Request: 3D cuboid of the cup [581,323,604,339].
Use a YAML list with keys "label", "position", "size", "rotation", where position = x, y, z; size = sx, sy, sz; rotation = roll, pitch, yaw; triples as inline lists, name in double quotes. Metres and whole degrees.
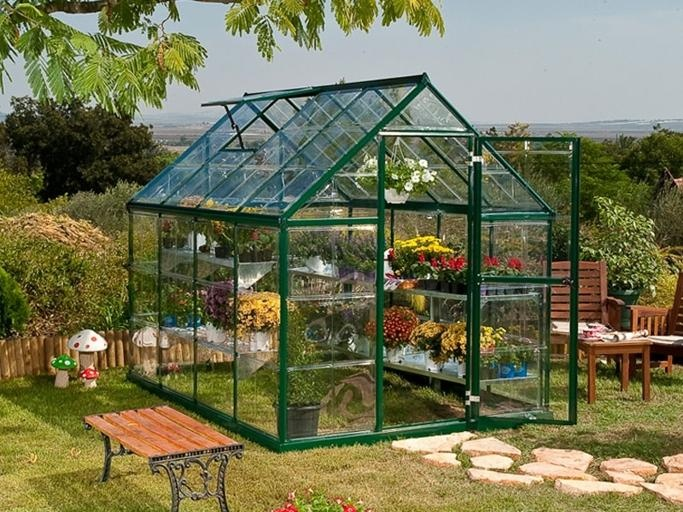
- label: "cup"
  position: [3.151, 0.946, 10.973]
  size: [0.196, 0.111, 0.206]
  rotation: [1, 3, 0]
